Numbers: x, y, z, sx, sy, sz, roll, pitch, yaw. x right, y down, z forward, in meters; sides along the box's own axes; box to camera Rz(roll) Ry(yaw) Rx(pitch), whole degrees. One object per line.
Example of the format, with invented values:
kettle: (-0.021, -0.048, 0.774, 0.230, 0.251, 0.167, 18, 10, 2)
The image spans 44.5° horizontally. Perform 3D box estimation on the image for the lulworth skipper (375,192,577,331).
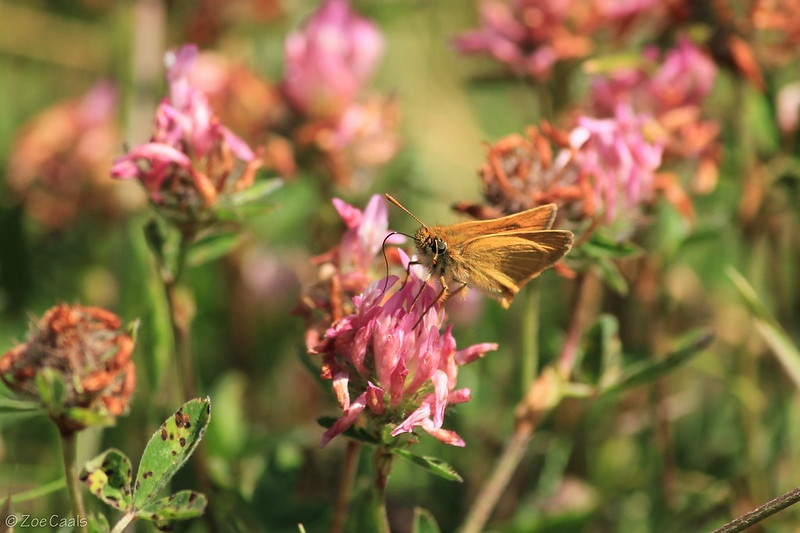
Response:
lulworth skipper: (0.142, -0.013, 1.794, 0.321, 0.203, 0.147, 6, 2, 8)

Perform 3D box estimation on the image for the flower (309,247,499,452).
flower: (-0.015, 0.183, 1.723, 0.238, 0.181, 0.238, 13, 19, 30)
